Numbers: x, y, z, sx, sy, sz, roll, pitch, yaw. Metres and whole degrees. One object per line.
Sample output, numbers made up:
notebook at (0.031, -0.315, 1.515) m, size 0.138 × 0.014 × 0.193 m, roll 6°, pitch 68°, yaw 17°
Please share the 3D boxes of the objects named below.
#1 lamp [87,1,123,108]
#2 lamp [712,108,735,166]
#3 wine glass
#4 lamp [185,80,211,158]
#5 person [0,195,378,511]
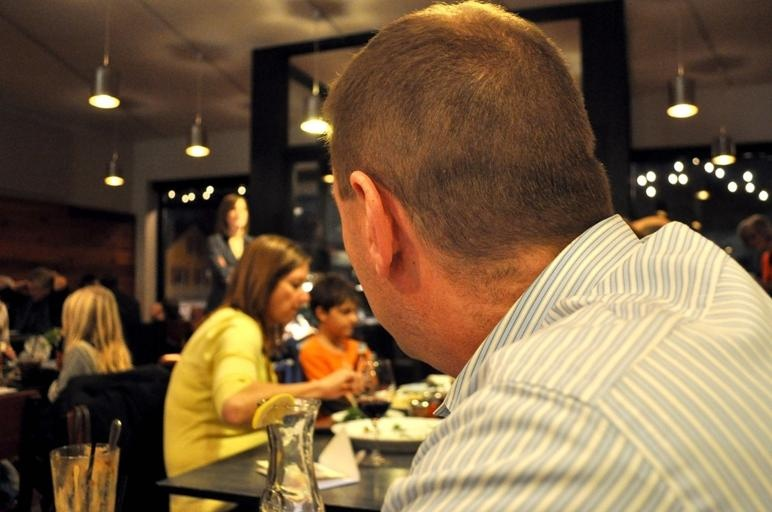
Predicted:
lamp at (-0.773, -0.555, 2.216) m, size 0.085 × 0.300 × 0.046 m, roll -1°, pitch -7°, yaw -23°
lamp at (1.210, -0.413, 2.902) m, size 0.104 × 0.193 × 0.108 m, roll -2°, pitch 3°, yaw 4°
wine glass at (-0.033, 0.532, 2.720) m, size 0.174 × 0.411 × 0.181 m, roll 3°, pitch -15°, yaw -4°
lamp at (-0.555, -0.408, 2.375) m, size 0.037 × 0.234 × 0.065 m, roll -9°, pitch -8°, yaw 38°
person at (-0.766, 0.381, 2.953) m, size 0.844 × 1.499 × 0.816 m, roll 2°, pitch -7°, yaw -21°
